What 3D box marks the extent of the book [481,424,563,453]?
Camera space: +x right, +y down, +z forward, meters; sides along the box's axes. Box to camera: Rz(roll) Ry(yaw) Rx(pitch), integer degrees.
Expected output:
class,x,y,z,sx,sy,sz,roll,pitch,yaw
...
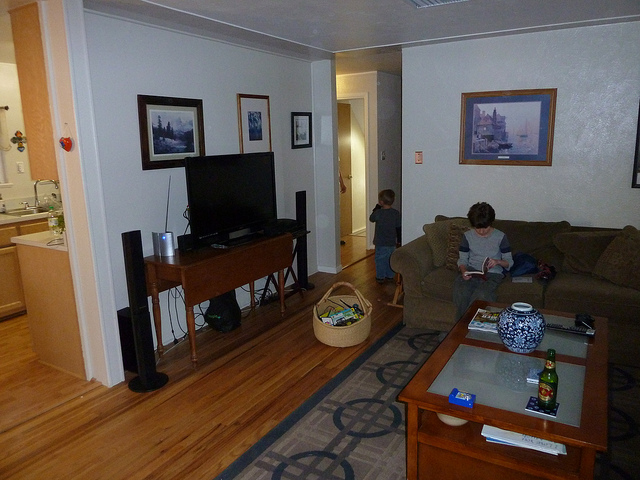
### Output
class,x,y,z,sx,sy,sz,roll,pitch,yaw
book,1.121,1.109,2.573,0.412,0.024,0.081,5,16,23

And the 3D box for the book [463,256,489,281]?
class,x,y,z,sx,sy,sz,roll,pitch,yaw
book,1.421,0.285,4.191,0.181,0.173,0.254,9,0,19

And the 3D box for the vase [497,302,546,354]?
class,x,y,z,sx,sy,sz,roll,pitch,yaw
vase,1.355,0.583,3.160,0.344,0.358,0.366,1,14,23

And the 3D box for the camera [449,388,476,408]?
class,x,y,z,sx,sy,sz,roll,pitch,yaw
camera,0.810,0.895,2.632,0.095,0.043,0.101,2,6,33

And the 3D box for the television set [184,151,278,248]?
class,x,y,z,sx,sy,sz,roll,pitch,yaw
television set,-0.829,-0.392,4.436,0.283,0.839,1.146,6,15,35

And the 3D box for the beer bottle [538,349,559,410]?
class,x,y,z,sx,sy,sz,roll,pitch,yaw
beer bottle,1.292,0.777,2.600,0.100,0.310,0.187,6,17,28

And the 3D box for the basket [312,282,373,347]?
class,x,y,z,sx,sy,sz,roll,pitch,yaw
basket,0.214,0.636,4.456,0.554,0.610,0.579,-2,15,1
